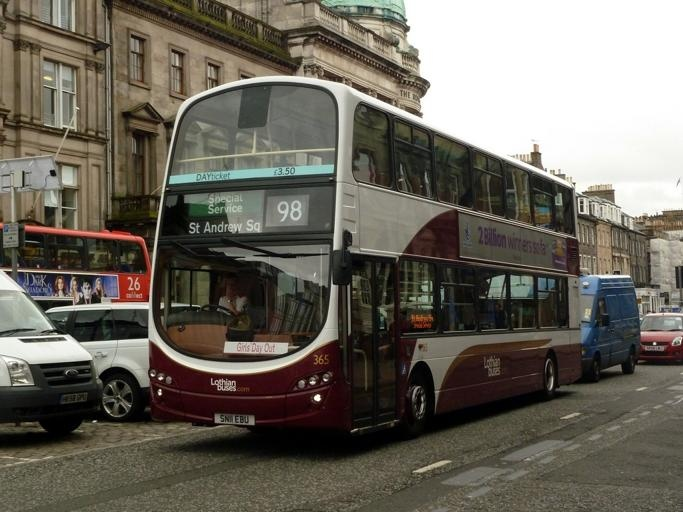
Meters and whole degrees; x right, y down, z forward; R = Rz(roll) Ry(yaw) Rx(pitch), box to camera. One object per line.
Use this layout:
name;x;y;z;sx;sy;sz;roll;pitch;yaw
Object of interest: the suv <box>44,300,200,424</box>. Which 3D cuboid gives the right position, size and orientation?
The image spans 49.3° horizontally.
suv;-4.184;1.979;14.585;2.868;1.588;1.661;-2;-5;27
